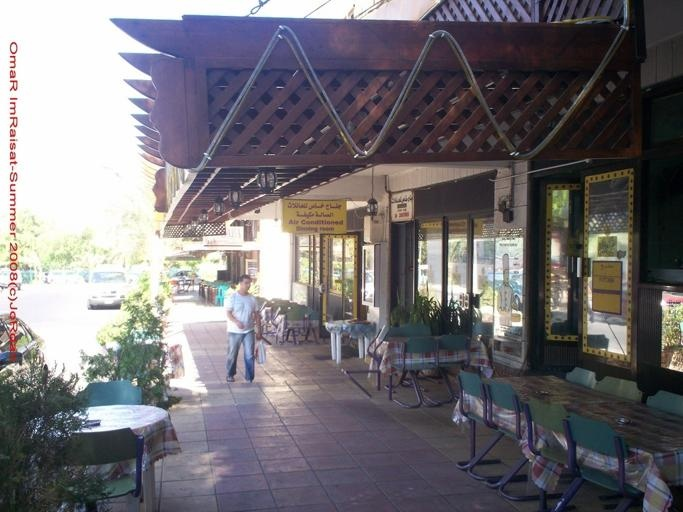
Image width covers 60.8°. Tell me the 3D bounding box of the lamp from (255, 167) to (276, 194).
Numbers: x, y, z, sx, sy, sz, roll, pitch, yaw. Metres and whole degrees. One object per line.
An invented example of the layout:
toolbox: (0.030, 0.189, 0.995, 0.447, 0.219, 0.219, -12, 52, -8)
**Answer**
lamp: (-1.120, -1.112, 8.821, 0.302, 0.456, 0.324, 3, 2, 32)

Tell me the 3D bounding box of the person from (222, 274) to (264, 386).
person: (-1.790, 1.324, 10.527, 0.610, 1.632, 0.832, -1, 0, -12)
